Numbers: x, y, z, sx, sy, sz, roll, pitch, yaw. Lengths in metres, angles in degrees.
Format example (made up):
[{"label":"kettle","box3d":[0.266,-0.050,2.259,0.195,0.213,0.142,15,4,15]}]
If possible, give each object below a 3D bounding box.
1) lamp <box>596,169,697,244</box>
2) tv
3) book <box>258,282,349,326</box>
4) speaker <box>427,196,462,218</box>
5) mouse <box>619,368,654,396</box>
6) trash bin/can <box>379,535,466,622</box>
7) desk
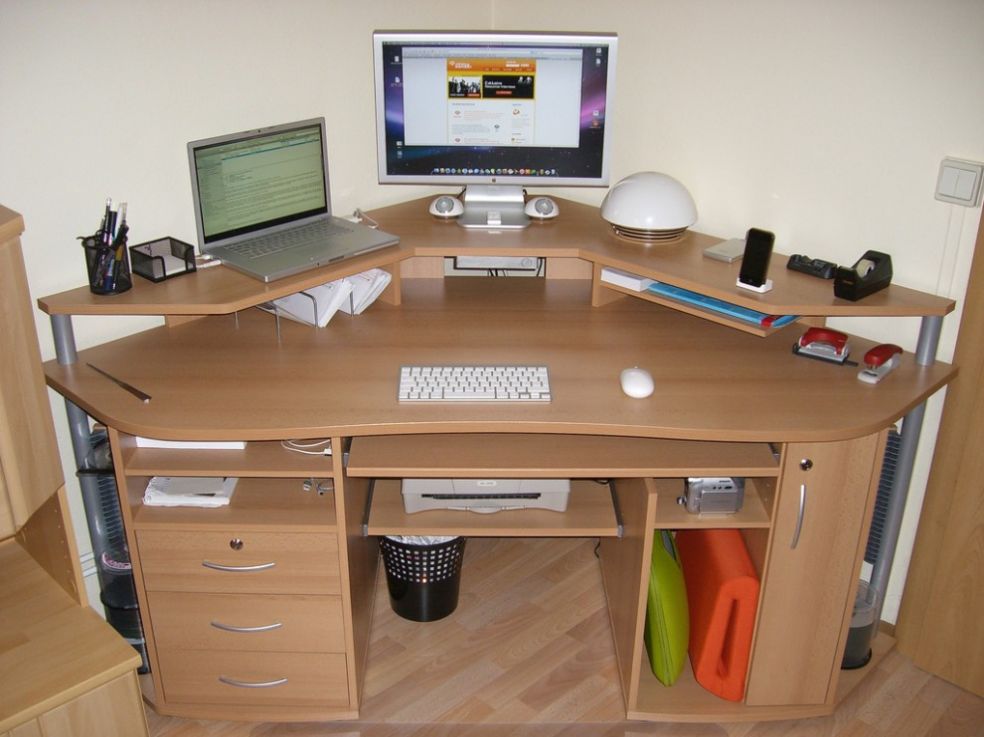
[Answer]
[{"label":"lamp","box3d":[0.525,-0.538,2.652,0.297,0.153,0.266,1,28,2]},{"label":"tv","box3d":[0.011,-0.848,2.754,0.989,0.626,0.247,1,42,1]},{"label":"book","box3d":[-0.606,-0.254,2.623,0.193,0.067,0.189,-27,41,-36]},{"label":"speaker","box3d":[-0.170,-0.589,2.909,0.103,0.030,0.089,0,41,-3]},{"label":"mouse","box3d":[0.427,0.040,2.296,0.103,0.069,0.087,3,21,5]},{"label":"trash bin/can","box3d":[-0.266,0.695,2.877,0.378,0.264,0.306,-3,21,-10]},{"label":"desk","box3d":[-0.022,0.433,2.647,2.389,1.119,0.964,-1,14,-1]}]
